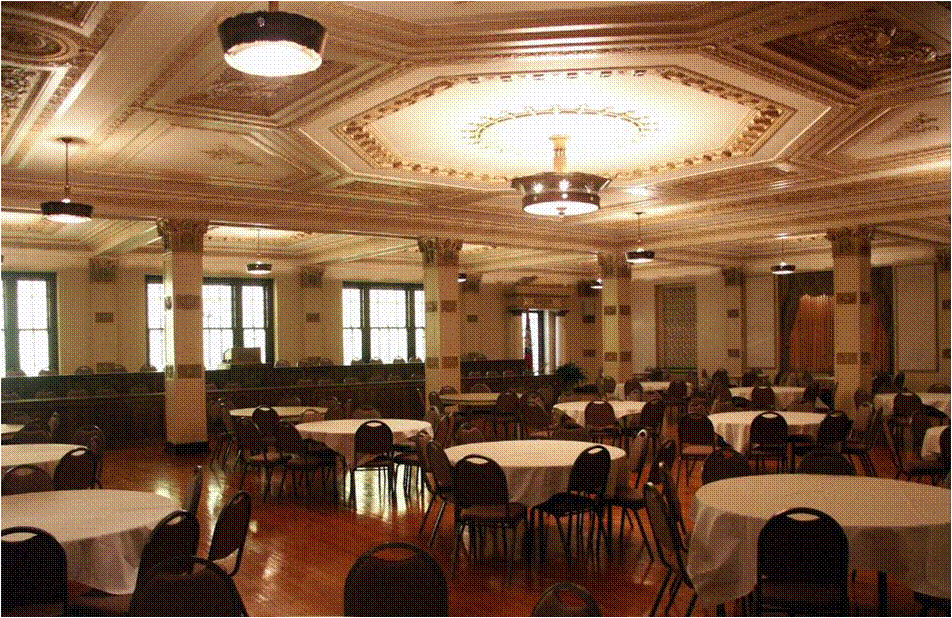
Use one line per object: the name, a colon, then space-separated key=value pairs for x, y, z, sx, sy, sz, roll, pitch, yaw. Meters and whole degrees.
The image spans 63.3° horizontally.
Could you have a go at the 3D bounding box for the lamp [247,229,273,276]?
lamp: x=-4.720 y=-1.271 z=16.929 sx=0.471 sy=1.128 sz=0.481 roll=-10 pitch=-16 yaw=11

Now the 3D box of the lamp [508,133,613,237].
lamp: x=1.140 y=-1.734 z=10.379 sx=0.939 sy=0.815 sz=0.947 roll=3 pitch=-6 yaw=-37

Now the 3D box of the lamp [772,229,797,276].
lamp: x=7.226 y=-1.344 z=18.182 sx=0.622 sy=1.093 sz=0.649 roll=2 pitch=-4 yaw=18

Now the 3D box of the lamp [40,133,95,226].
lamp: x=-5.550 y=-1.805 z=10.548 sx=0.801 sy=1.307 sz=0.818 roll=1 pitch=4 yaw=-10

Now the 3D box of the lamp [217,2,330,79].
lamp: x=-1.722 y=-2.217 z=6.575 sx=0.631 sy=0.632 sz=0.652 roll=8 pitch=-30 yaw=-22

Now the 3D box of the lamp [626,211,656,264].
lamp: x=3.121 y=-1.383 z=14.776 sx=0.521 sy=0.908 sz=0.554 roll=-1 pitch=0 yaw=23
